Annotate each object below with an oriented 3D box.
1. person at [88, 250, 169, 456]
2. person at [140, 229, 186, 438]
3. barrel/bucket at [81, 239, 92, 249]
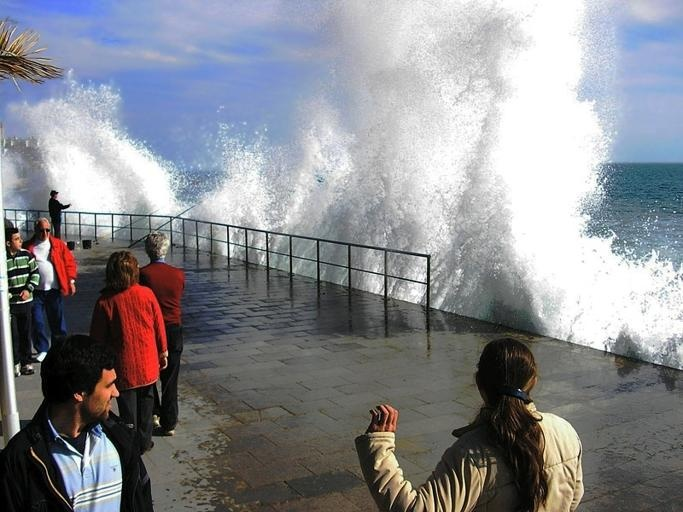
[{"bbox_3d":[-1.735,0.864,5.292,0.767,1.967,0.954,0,12,-23],"label":"person"},{"bbox_3d":[-1.722,0.730,5.742,0.497,1.895,0.489,1,2,-17],"label":"person"},{"bbox_3d":[-8.492,-0.385,20.613,0.348,0.393,0.400,0,6,-10],"label":"barrel/bucket"}]
